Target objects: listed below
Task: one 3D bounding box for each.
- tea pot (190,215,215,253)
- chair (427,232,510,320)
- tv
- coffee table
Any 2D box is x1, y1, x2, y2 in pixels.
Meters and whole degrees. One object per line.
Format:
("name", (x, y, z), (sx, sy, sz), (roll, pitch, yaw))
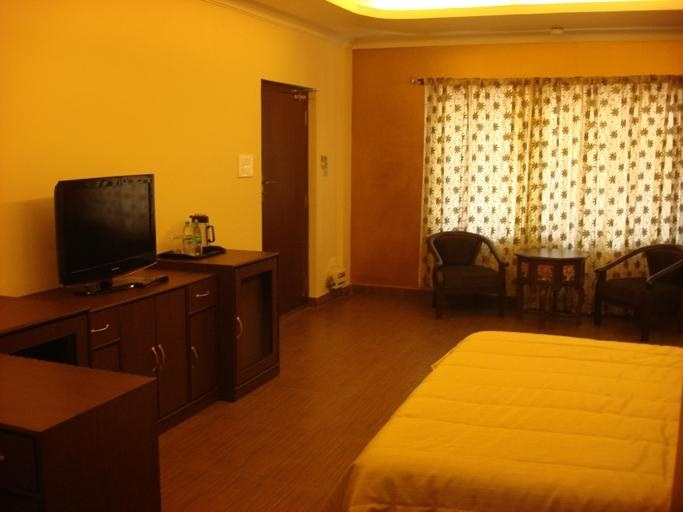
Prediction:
("tea pot", (-1.188, -0.171, 4.683), (0.205, 0.308, 0.156), (-4, -3, 13))
("chair", (1.428, 0.215, 6.901), (0.847, 1.055, 0.971), (-1, 4, -4))
("tv", (-1.569, -0.134, 3.769), (0.134, 0.766, 0.846), (9, 13, 18))
("coffee table", (2.433, 0.339, 6.401), (0.777, 0.854, 0.795), (6, 11, 44))
